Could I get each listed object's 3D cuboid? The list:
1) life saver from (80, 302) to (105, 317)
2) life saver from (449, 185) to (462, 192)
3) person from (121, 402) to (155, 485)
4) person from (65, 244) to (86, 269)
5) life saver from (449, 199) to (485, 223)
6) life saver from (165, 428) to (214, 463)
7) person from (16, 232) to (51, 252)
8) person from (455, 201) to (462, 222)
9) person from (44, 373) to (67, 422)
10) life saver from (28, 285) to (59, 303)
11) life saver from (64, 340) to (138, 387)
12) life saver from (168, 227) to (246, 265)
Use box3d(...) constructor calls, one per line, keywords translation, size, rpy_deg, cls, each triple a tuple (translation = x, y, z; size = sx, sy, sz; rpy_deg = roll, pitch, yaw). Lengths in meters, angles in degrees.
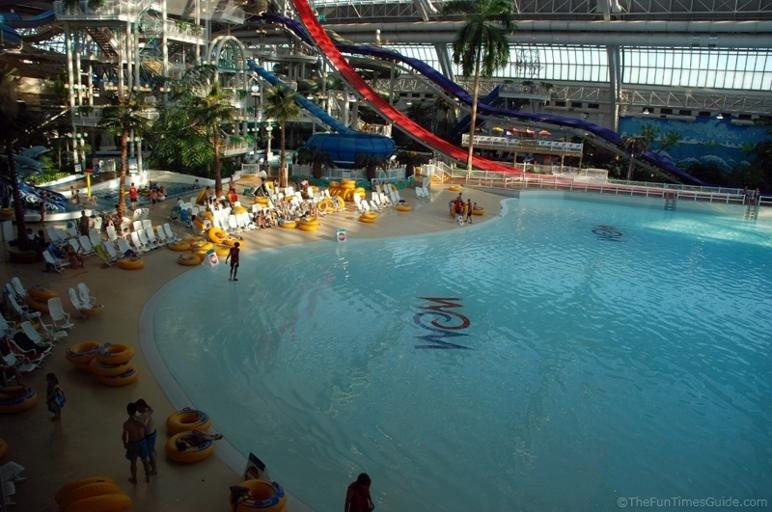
box3d(translation=(-9.017, 1.672, 14.104), size=(0.331, 0.398, 0.636), rpy_deg=(9, 15, 30), cls="life saver")
box3d(translation=(5.462, -5.386, 36.675), size=(0.779, 0.344, 0.792), rpy_deg=(7, 14, 31), cls="life saver")
box3d(translation=(-4.861, 3.610, 8.921), size=(0.394, 1.575, 0.506), rpy_deg=(-6, 16, -26), cls="person")
box3d(translation=(-11.787, -0.015, 17.365), size=(0.488, 0.407, 1.103), rpy_deg=(-21, 67, -36), cls="person")
box3d(translation=(4.698, -2.818, 28.685), size=(1.516, 0.766, 1.973), rpy_deg=(2, 17, 3), cls="life saver")
box3d(translation=(-4.113, 4.004, 9.577), size=(0.918, 0.500, 0.468), rpy_deg=(-2, 14, -15), cls="life saver")
box3d(translation=(-14.017, -0.548, 18.188), size=(0.951, 0.351, 0.912), rpy_deg=(-1, 29, -45), cls="person")
box3d(translation=(4.448, -2.638, 27.737), size=(0.566, 0.716, 1.244), rpy_deg=(1, 29, 7), cls="person")
box3d(translation=(-7.283, 3.062, 10.071), size=(0.278, 1.130, 0.547), rpy_deg=(-12, 19, -40), cls="person")
box3d(translation=(-10.726, 1.169, 14.461), size=(0.668, 0.229, 0.642), rpy_deg=(10, 6, -7), cls="life saver")
box3d(translation=(-7.162, 2.660, 11.663), size=(1.848, 0.915, 0.748), rpy_deg=(7, 15, 24), cls="life saver")
box3d(translation=(-8.164, -0.408, 20.461), size=(2.073, 0.425, 2.440), rpy_deg=(18, 21, 20), cls="life saver")
